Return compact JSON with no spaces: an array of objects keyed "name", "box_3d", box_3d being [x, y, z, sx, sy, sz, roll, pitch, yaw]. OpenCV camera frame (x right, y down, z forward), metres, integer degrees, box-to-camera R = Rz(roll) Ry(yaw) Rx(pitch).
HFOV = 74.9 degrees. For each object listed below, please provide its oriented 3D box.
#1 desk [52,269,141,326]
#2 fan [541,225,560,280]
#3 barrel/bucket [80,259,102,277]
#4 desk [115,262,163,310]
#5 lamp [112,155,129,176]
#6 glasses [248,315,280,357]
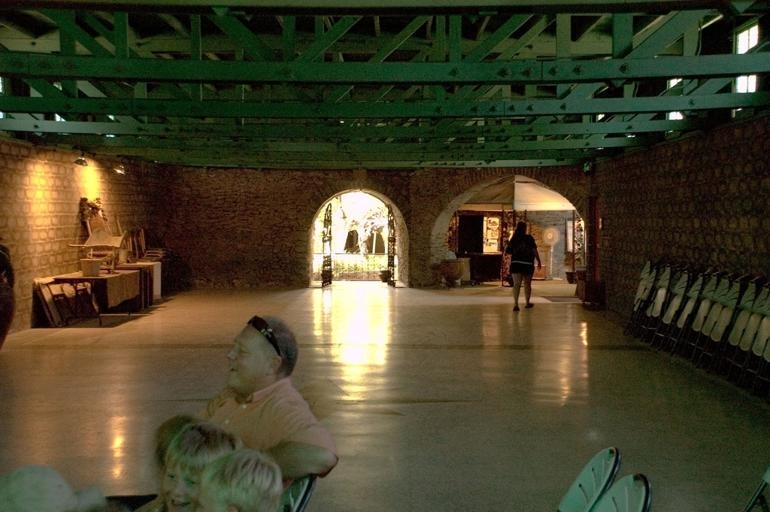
[{"name":"desk","box_3d":[-6.152,0.844,11.136,0.964,1.049,1.908,-1,5,-7]},{"name":"fan","box_3d":[6.323,-0.111,19.771,0.917,1.981,0.487,5,3,9]},{"name":"barrel/bucket","box_3d":[-6.016,0.255,10.434,0.418,0.259,0.397,0,-3,0]},{"name":"desk","box_3d":[-5.914,0.663,13.008,1.165,1.212,1.496,-1,2,8]},{"name":"lamp","box_3d":[-6.744,-2.333,12.984,0.310,0.479,1.737,-2,5,-24]},{"name":"glasses","box_3d":[-0.586,0.376,2.482,0.079,0.194,0.177,-45,29,-18]}]
